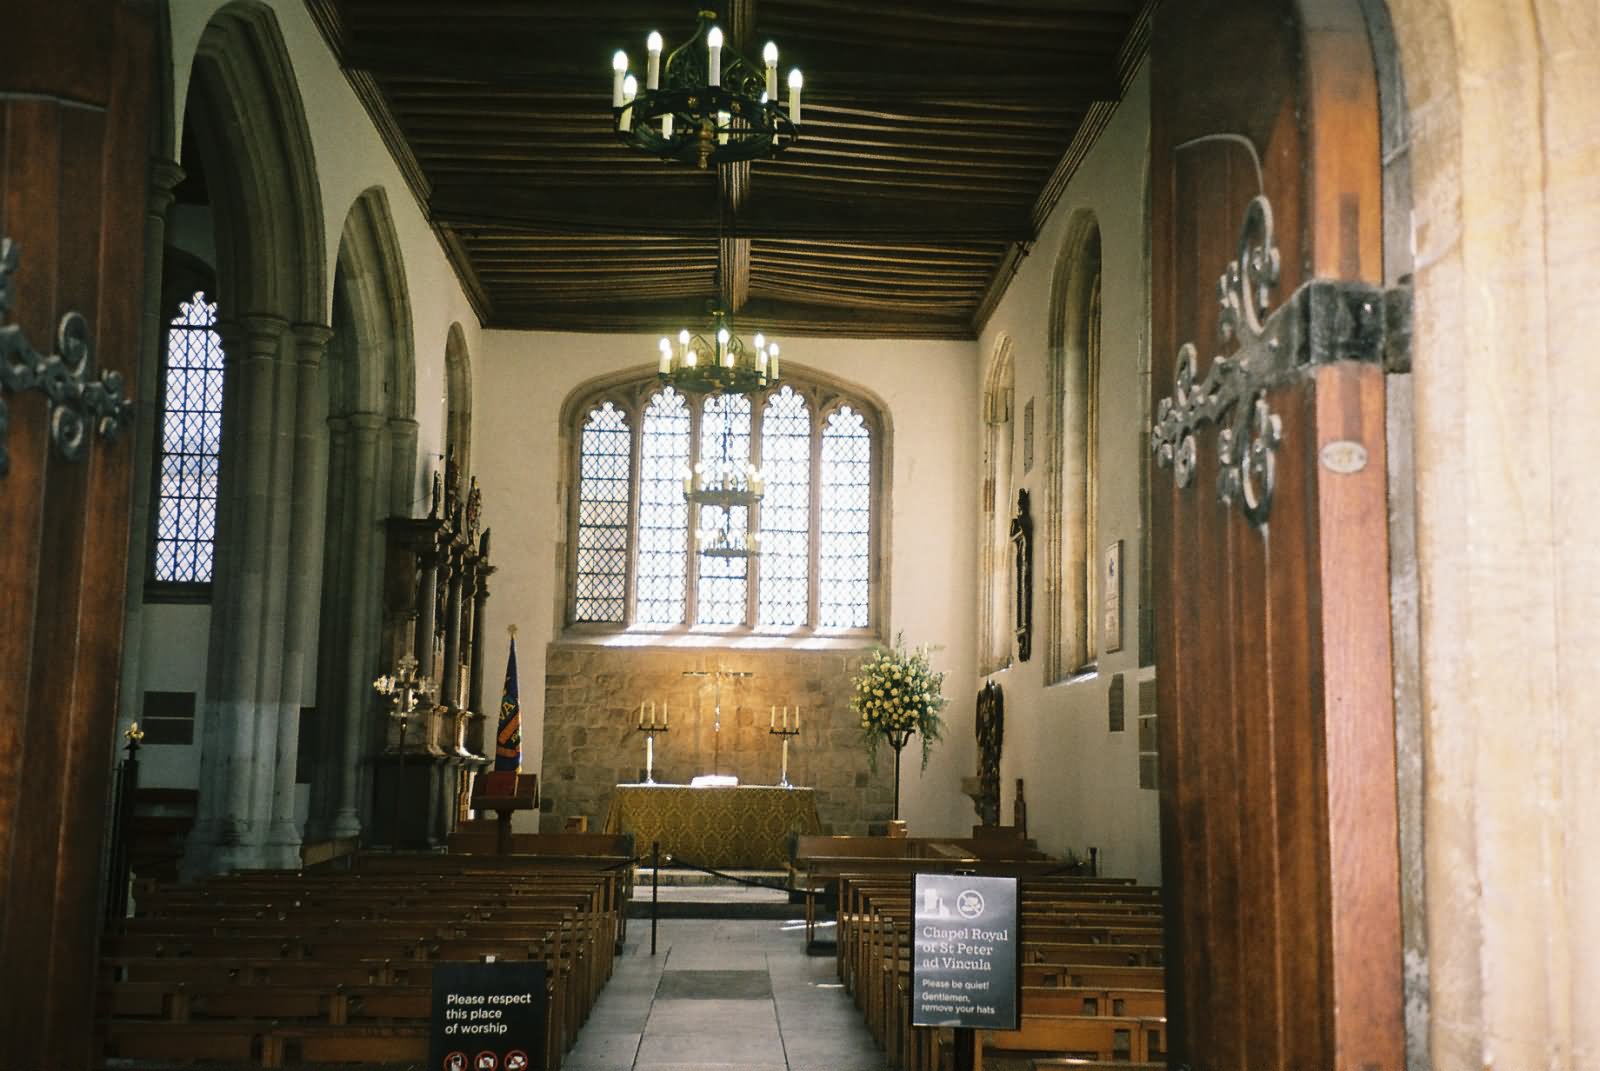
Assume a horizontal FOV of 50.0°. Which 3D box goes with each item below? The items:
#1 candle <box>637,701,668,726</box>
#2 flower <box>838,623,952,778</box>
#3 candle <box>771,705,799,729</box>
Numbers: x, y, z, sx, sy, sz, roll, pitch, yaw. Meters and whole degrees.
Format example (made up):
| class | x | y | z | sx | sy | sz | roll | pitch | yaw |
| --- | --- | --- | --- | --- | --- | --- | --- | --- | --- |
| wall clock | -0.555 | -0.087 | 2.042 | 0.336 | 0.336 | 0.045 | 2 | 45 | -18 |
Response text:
| class | x | y | z | sx | sy | sz | roll | pitch | yaw |
| --- | --- | --- | --- | --- | --- | --- | --- | --- | --- |
| candle | -1.674 | 1.987 | 19.213 | 0.243 | 0.265 | 0.026 | 1 | -14 | -1 |
| flower | 1.035 | 1.790 | 18.260 | 0.908 | 0.997 | 0.852 | -5 | 3 | -14 |
| candle | -0.191 | 2.034 | 19.338 | 0.232 | 0.250 | 0.048 | 3 | -26 | -7 |
